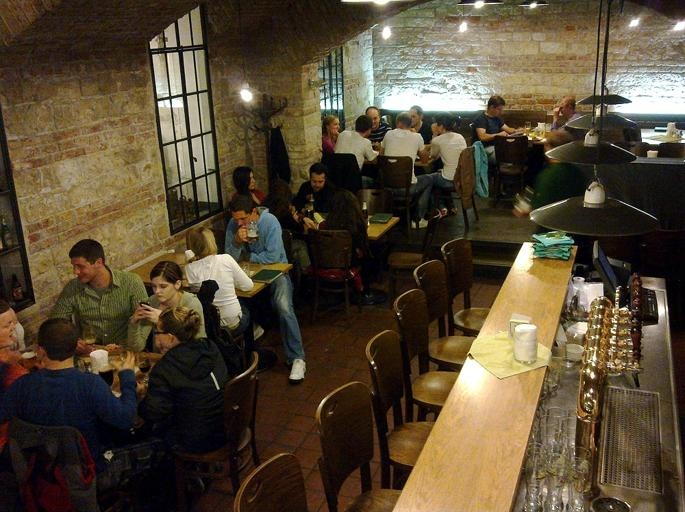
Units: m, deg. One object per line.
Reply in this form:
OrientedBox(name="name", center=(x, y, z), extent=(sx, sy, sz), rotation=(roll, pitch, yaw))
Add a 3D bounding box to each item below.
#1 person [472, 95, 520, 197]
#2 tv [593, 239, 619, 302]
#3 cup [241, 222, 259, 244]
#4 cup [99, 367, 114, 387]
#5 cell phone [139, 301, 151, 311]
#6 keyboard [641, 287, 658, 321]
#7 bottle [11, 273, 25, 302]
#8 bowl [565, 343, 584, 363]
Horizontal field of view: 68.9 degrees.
OrientedBox(name="person", center=(2.879, -2.234, 9.655), extent=(0.777, 1.609, 0.867), rotation=(-10, 27, -27))
OrientedBox(name="tv", center=(2.038, 0.100, 3.919), extent=(0.146, 0.373, 0.400), rotation=(-7, 20, 28))
OrientedBox(name="cup", center=(-0.951, -0.233, 5.103), extent=(0.192, 0.206, 0.191), rotation=(0, 6, 0))
OrientedBox(name="cup", center=(-1.631, 0.818, 3.436), extent=(0.103, 0.112, 0.117), rotation=(0, 24, -13))
OrientedBox(name="cell phone", center=(-1.525, 0.387, 3.879), extent=(0.101, 0.074, 0.058), rotation=(4, -2, -34))
OrientedBox(name="keyboard", center=(2.438, 0.383, 4.001), extent=(0.118, 0.134, 0.605), rotation=(7, 17, 31))
OrientedBox(name="bottle", center=(-2.798, 0.269, 4.313), extent=(0.082, 0.243, 0.119), rotation=(-8, 16, -19))
OrientedBox(name="bowl", center=(1.493, 0.616, 3.257), extent=(0.142, 0.069, 0.141), rotation=(-4, 6, 0))
